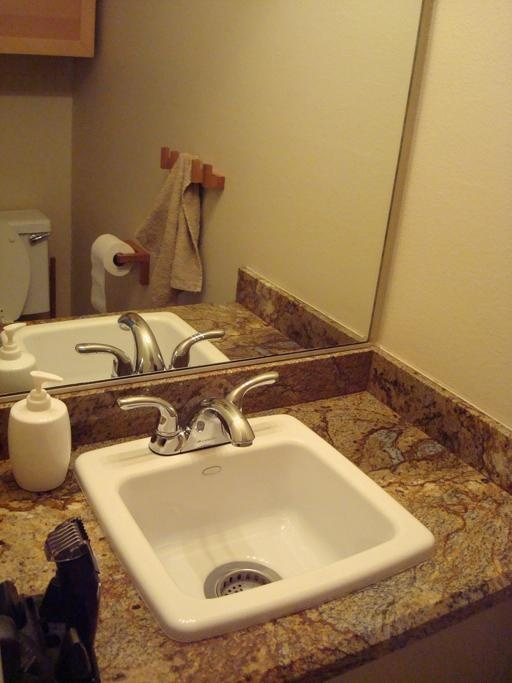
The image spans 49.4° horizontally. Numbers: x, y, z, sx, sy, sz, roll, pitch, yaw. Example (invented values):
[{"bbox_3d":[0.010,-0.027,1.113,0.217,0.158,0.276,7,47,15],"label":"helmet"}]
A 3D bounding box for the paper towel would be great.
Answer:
[{"bbox_3d":[-0.248,-0.115,0.956,0.097,0.126,0.056,21,27,33],"label":"paper towel"}]

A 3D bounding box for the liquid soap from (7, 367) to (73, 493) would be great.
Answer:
[{"bbox_3d":[-0.312,0.134,0.803,0.084,0.199,0.062,-2,21,-24],"label":"liquid soap"}]

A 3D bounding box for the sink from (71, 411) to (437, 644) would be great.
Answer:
[{"bbox_3d":[-0.017,0.298,0.858,0.423,0.153,0.395,-6,22,-33],"label":"sink"}]

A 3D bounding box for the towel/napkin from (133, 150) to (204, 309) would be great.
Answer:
[{"bbox_3d":[-0.146,-0.188,0.963,0.126,0.258,0.018,-9,25,-38],"label":"towel/napkin"}]
